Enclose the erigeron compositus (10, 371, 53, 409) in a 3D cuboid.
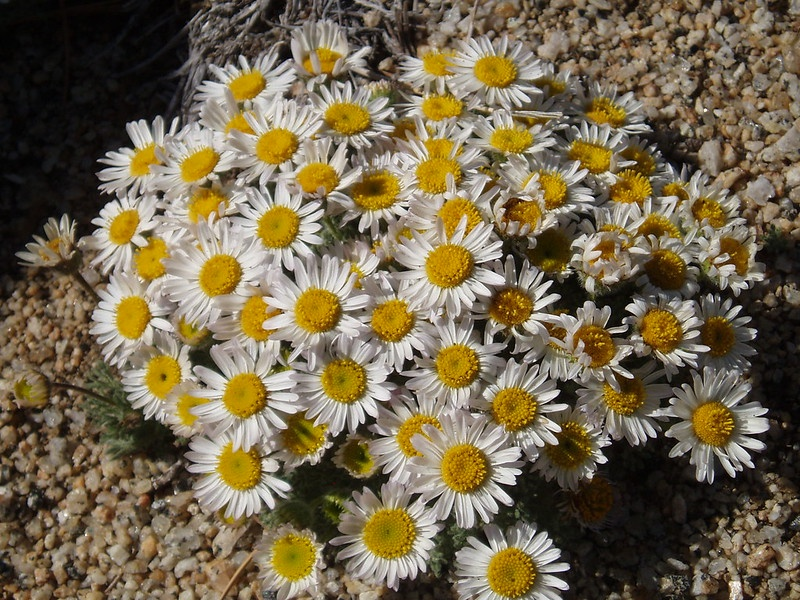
[{"bbox_3d":[-2.402,0.594,5.845,0.181,0.170,0.243,-15,95,22],"label":"erigeron compositus"}]
